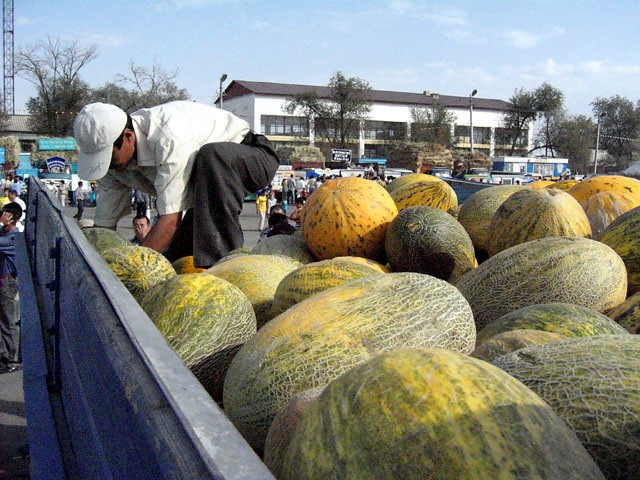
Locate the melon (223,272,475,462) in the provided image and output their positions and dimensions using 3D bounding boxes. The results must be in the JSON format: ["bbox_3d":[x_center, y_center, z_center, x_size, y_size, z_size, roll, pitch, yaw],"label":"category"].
[{"bbox_3d":[0.106,0.576,2.182,0.905,0.576,0.621,-22,49,-20],"label":"melon"}]

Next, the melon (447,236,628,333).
[{"bbox_3d":[1.150,0.142,2.735,0.806,0.494,0.460,-17,34,4],"label":"melon"}]

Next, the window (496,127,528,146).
[{"bbox_3d":[34.018,-18.569,90.549,4.831,4.318,2.941,1,-5,5],"label":"window"}]

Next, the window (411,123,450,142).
[{"bbox_3d":[18.175,-17.818,83.799,6.045,3.142,1.289,8,9,31],"label":"window"}]

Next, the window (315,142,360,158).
[{"bbox_3d":[2.718,-14.769,82.929,5.898,2.978,7.674,8,9,28],"label":"window"}]

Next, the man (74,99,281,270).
[{"bbox_3d":[-1.208,-0.431,4.638,1.671,1.684,1.183,-12,15,-36],"label":"man"}]

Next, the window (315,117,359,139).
[{"bbox_3d":[2.695,-17.288,78.671,6.695,3.143,5.125,4,8,-2],"label":"window"}]
